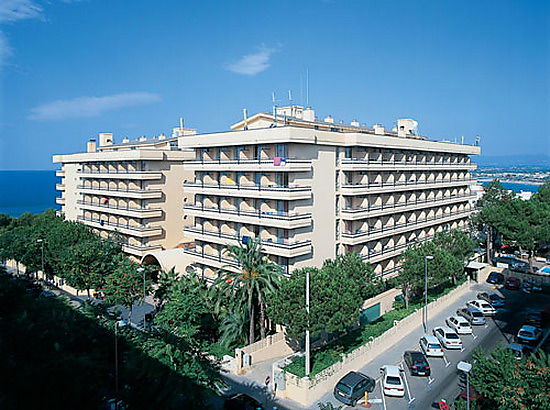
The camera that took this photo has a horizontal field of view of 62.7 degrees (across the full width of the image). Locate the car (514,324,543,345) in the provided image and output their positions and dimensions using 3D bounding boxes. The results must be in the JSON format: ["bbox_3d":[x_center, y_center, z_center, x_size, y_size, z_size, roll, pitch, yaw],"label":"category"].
[{"bbox_3d":[29.162,15.179,51.921,3.273,1.354,1.804,-11,14,-37],"label":"car"}]

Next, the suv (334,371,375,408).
[{"bbox_3d":[7.644,17.796,43.445,3.538,1.900,2.078,-9,13,-33],"label":"suv"}]

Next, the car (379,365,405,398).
[{"bbox_3d":[11.649,17.487,44.483,2.262,1.906,2.885,0,11,11],"label":"car"}]

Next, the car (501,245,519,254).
[{"bbox_3d":[46.940,9.499,89.252,3.108,1.904,2.010,-7,7,-15],"label":"car"}]

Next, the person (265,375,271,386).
[{"bbox_3d":[-0.727,17.741,45.225,0.549,0.550,1.074,0,12,7],"label":"person"}]

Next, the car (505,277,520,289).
[{"bbox_3d":[36.590,12.222,69.226,1.794,1.478,1.187,1,11,12],"label":"car"}]

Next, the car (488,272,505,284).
[{"bbox_3d":[35.488,12.054,72.316,1.330,1.346,2.376,5,16,44],"label":"car"}]

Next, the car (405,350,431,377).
[{"bbox_3d":[15.006,16.787,47.320,1.965,1.705,2.623,-2,11,-1],"label":"car"}]

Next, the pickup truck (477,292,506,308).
[{"bbox_3d":[30.425,13.370,63.823,1.528,1.279,3.665,-4,11,-9],"label":"pickup truck"}]
